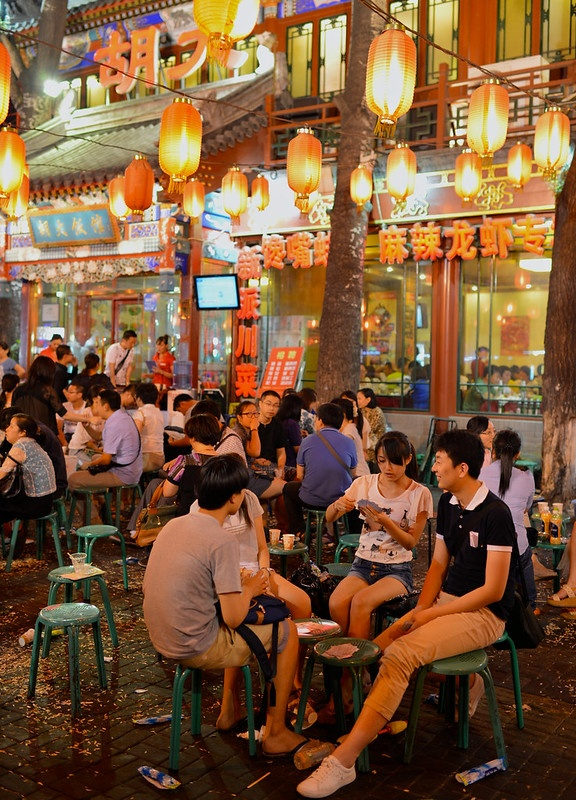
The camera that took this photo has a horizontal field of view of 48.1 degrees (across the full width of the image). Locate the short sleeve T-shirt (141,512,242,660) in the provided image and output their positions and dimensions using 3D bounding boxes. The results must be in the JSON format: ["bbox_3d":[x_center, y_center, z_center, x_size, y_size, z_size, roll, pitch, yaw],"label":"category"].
[{"bbox_3d":[-0.375,0.739,2.555,0.361,0.461,0.204,1,-1,-11],"label":"short sleeve T-shirt"}]

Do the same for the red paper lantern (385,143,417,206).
[{"bbox_3d":[1.468,-2.921,8.364,0.342,0.918,0.493,1,-1,8],"label":"red paper lantern"}]

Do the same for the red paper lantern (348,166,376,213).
[{"bbox_3d":[1.032,-3.051,9.123,0.291,0.416,0.552,1,-1,1],"label":"red paper lantern"}]

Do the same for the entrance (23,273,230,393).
[{"bbox_3d":[-3.234,-1.448,13.577,3.187,2.834,1.146,1,-1,27],"label":"entrance"}]

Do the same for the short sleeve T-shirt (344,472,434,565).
[{"bbox_3d":[0.593,0.708,3.757,0.564,0.531,0.319,3,-3,34],"label":"short sleeve T-shirt"}]

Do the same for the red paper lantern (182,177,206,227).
[{"bbox_3d":[-1.603,-3.456,10.967,0.329,0.579,0.330,1,-1,-14],"label":"red paper lantern"}]

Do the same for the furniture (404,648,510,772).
[{"bbox_3d":[0.851,1.420,2.988,0.422,0.515,0.464,-19,-13,37],"label":"furniture"}]

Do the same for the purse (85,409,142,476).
[{"bbox_3d":[-1.778,0.505,7.017,0.434,0.702,0.233,2,-1,-26],"label":"purse"}]

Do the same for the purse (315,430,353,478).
[{"bbox_3d":[0.409,0.494,5.856,0.052,0.480,0.071,-34,5,-8],"label":"purse"}]

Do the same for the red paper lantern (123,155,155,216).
[{"bbox_3d":[-2.026,-3.007,8.863,0.358,0.664,0.333,2,-1,-18],"label":"red paper lantern"}]

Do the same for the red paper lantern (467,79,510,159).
[{"bbox_3d":[2.114,-2.991,6.849,0.401,0.963,0.354,1,-1,13],"label":"red paper lantern"}]

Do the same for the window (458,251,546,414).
[{"bbox_3d":[3.708,-1.122,11.146,1.444,2.756,0.479,1,-1,20],"label":"window"}]

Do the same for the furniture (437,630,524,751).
[{"bbox_3d":[0.985,1.503,3.345,0.430,0.436,0.435,-11,6,39],"label":"furniture"}]

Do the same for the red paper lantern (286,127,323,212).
[{"bbox_3d":[0.215,-3.094,8.665,0.638,1.022,0.625,4,16,11],"label":"red paper lantern"}]

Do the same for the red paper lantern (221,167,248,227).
[{"bbox_3d":[-0.852,-3.381,10.455,0.386,0.669,0.295,1,-1,-9],"label":"red paper lantern"}]

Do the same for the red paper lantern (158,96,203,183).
[{"bbox_3d":[-1.218,-2.996,7.316,0.434,0.786,0.249,1,-1,-12],"label":"red paper lantern"}]

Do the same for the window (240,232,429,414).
[{"bbox_3d":[1.220,-1.626,12.959,4.389,4.138,0.186,-1,10,-20],"label":"window"}]

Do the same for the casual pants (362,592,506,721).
[{"bbox_3d":[0.569,1.027,2.789,0.486,0.656,0.534,-2,-1,-8],"label":"casual pants"}]

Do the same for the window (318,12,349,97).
[{"bbox_3d":[0.973,-7.249,13.754,0.854,2.201,0.150,-2,-13,16],"label":"window"}]

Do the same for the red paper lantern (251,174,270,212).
[{"bbox_3d":[-0.479,-3.656,11.197,0.266,0.483,0.404,1,-1,-8],"label":"red paper lantern"}]

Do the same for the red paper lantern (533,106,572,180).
[{"bbox_3d":[3.118,-3.085,7.636,0.364,0.708,0.289,1,-1,15],"label":"red paper lantern"}]

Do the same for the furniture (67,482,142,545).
[{"bbox_3d":[-2.046,1.198,7.059,0.691,0.622,0.671,1,-5,0],"label":"furniture"}]

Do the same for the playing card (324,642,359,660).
[{"bbox_3d":[0.236,1.096,2.823,0.125,0.015,0.239,1,-1,22],"label":"playing card"}]

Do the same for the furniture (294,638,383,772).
[{"bbox_3d":[0.189,1.378,2.984,0.330,0.367,0.277,13,-19,-4],"label":"furniture"}]

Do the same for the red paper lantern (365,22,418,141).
[{"bbox_3d":[0.971,-3.066,6.067,0.438,0.619,0.257,1,-1,5],"label":"red paper lantern"}]

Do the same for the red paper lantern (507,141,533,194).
[{"bbox_3d":[3.200,-3.221,8.921,0.282,0.708,0.483,1,-1,22],"label":"red paper lantern"}]

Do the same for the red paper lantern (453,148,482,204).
[{"bbox_3d":[2.471,-3.098,8.858,0.319,0.707,0.385,1,-1,12],"label":"red paper lantern"}]

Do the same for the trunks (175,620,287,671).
[{"bbox_3d":[-0.225,1.018,2.732,0.324,0.114,0.234,-2,1,-35],"label":"trunks"}]
